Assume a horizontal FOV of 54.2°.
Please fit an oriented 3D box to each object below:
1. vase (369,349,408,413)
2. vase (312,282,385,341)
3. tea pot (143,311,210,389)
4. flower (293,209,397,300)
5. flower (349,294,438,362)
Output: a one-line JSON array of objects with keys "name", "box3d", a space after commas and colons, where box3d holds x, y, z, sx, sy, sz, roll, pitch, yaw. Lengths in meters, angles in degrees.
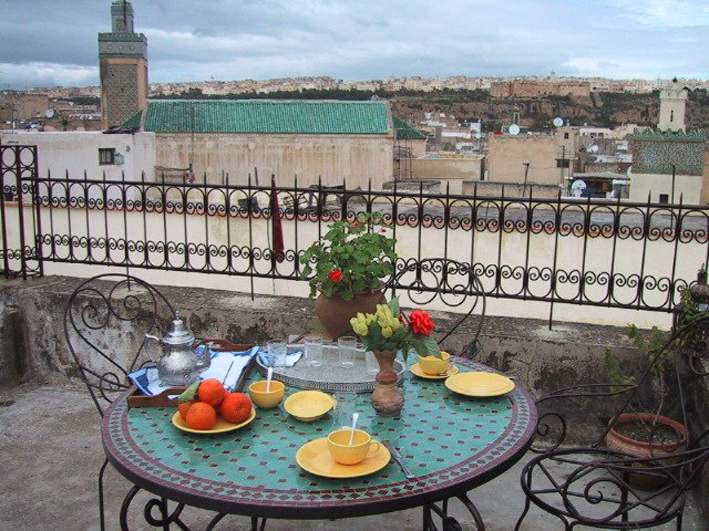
[{"name": "vase", "box3d": [0.173, 0.619, 3.686, 0.228, 0.486, 0.243, 0, 23, 3]}, {"name": "vase", "box3d": [-0.031, 0.316, 4.738, 0.352, 0.373, 0.297, 13, 15, 41]}, {"name": "tea pot", "box3d": [-0.977, 0.459, 3.858, 0.335, 0.422, 0.252, 3, 6, 0]}, {"name": "flower", "box3d": [0.023, -0.064, 4.827, 0.579, 0.515, 0.627, 1, -7, 28]}, {"name": "flower", "box3d": [0.207, 0.350, 3.719, 0.560, 0.344, 0.493, -7, 9, -40]}]
